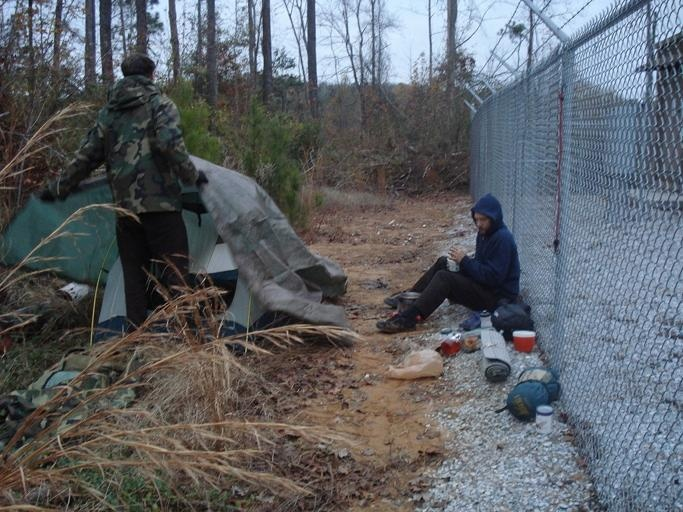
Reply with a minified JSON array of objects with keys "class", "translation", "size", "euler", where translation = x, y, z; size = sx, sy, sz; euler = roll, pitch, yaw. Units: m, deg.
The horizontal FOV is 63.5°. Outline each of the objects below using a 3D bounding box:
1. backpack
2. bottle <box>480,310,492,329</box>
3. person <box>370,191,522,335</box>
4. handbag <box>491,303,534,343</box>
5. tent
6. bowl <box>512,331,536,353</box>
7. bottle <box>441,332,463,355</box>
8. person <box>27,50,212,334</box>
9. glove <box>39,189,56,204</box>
[{"class":"backpack","translation":[1.314,0.920,3.920],"size":[0.339,0.361,0.484],"euler":[8,5,26]},{"class":"bottle","translation":[1.275,0.550,4.863],"size":[0.117,0.145,0.122],"euler":[-9,9,-14]},{"class":"person","translation":[1.095,0.036,5.630],"size":[1.389,1.315,0.888],"euler":[-2,10,0]},{"class":"handbag","translation":[1.518,0.500,5.028],"size":[0.371,0.396,0.308],"euler":[4,43,11]},{"class":"tent","translation":[-1.576,-0.137,5.494],"size":[2.057,0.991,2.129],"euler":[13,3,-2]},{"class":"bowl","translation":[1.509,0.710,4.594],"size":[0.155,0.130,0.167],"euler":[-1,8,0]},{"class":"bottle","translation":[0.974,0.765,4.982],"size":[0.201,0.210,0.128],"euler":[-33,29,-34]},{"class":"person","translation":[-1.656,-0.552,4.581],"size":[1.157,2.228,0.629],"euler":[4,10,21]},{"class":"glove","translation":[-2.519,-0.522,4.773],"size":[0.107,0.097,0.129],"euler":[2,16,-3]}]
